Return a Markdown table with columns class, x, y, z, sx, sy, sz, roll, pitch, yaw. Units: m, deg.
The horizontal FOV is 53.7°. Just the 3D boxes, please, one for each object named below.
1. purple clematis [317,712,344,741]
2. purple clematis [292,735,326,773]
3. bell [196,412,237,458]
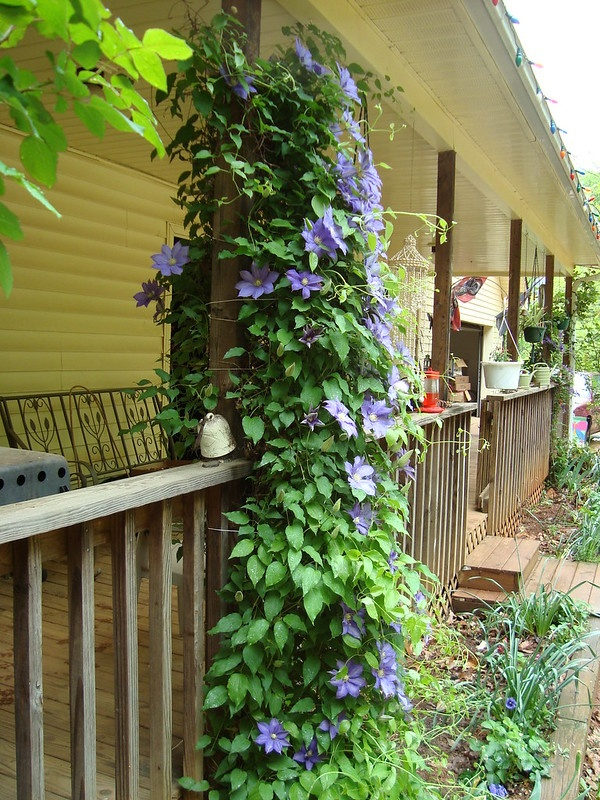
| class | x | y | z | sx | sy | sz | roll | pitch | yaw |
| --- | --- | --- | --- | --- | --- | --- | --- | --- | --- |
| purple clematis | 0.083 | 0.851 | 1.562 | 0.061 | 0.057 | 0.022 | -2 | 7 | -5 |
| purple clematis | 0.024 | 0.915 | 1.539 | 0.077 | 0.075 | 0.022 | -5 | 15 | -26 |
| bell | -0.218 | 0.099 | 1.591 | 0.076 | 0.130 | 0.108 | 0 | 4 | 33 |
